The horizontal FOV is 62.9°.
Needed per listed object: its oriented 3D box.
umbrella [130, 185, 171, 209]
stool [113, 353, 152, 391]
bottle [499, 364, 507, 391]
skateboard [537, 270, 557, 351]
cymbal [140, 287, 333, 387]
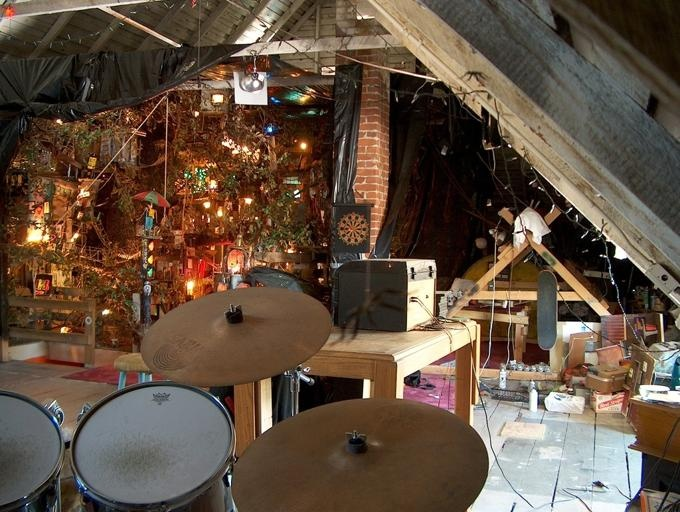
[{"bbox_3d":[-2.599,-0.808,7.584,0.429,0.196,0.428,13,4,-45],"label":"umbrella"},{"bbox_3d":[-1.371,0.782,3.791,0.229,0.187,0.246,-5,-5,-10],"label":"stool"},{"bbox_3d":[1.618,1.199,5.560,0.068,0.248,0.244,-6,8,21],"label":"bottle"},{"bbox_3d":[2.012,0.528,5.424,0.178,0.824,0.108,3,1,26],"label":"skateboard"},{"bbox_3d":[-0.389,0.270,1.998,0.721,0.181,0.571,-4,10,42],"label":"cymbal"}]
